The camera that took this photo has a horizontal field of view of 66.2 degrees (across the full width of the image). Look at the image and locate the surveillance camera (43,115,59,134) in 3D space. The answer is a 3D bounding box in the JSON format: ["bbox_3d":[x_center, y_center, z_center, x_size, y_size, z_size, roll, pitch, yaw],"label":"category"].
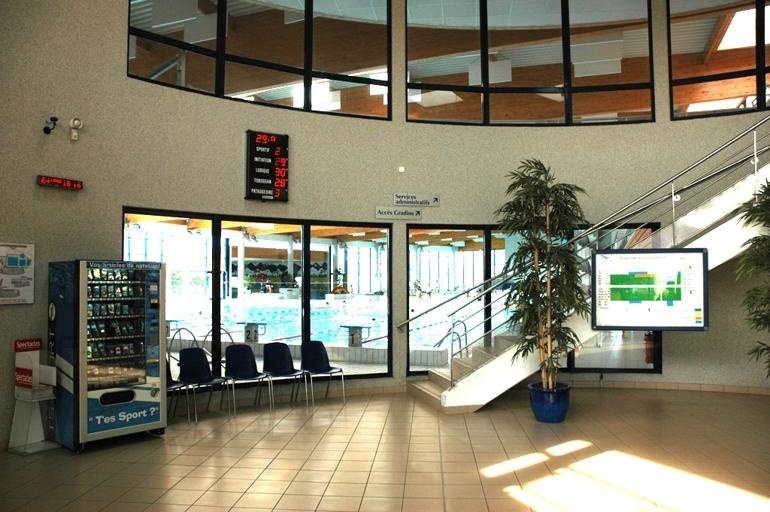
[{"bbox_3d":[-4.658,-1.808,8.232,0.197,0.250,0.077,-4,9,-27],"label":"surveillance camera"}]

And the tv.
[{"bbox_3d":[4.143,0.529,9.158,1.439,0.950,0.146,0,-4,10],"label":"tv"}]
